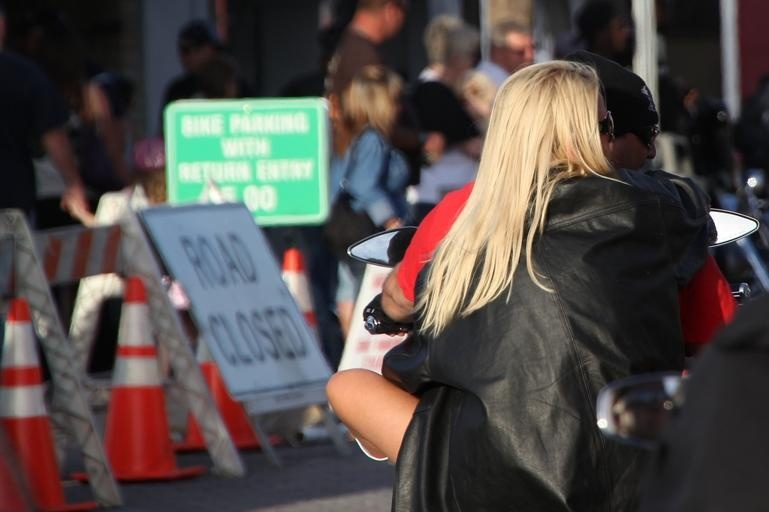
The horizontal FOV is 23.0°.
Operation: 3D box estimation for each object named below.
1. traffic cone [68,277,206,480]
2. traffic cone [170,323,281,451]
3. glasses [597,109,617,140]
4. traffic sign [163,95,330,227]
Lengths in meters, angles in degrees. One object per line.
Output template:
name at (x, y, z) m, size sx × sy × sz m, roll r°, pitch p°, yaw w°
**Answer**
traffic cone at (-1.370, 0.674, 10.585) m, size 0.753 × 1.029 × 0.790 m, roll -3°, pitch 6°, yaw -17°
traffic cone at (-0.821, 0.807, 11.238) m, size 0.610 × 0.720 × 0.610 m, roll -5°, pitch 0°, yaw 20°
glasses at (1.045, -0.627, 9.034) m, size 0.091 × 0.132 × 0.046 m, roll -3°, pitch 7°, yaw -15°
traffic sign at (-0.863, -0.581, 11.394) m, size 0.774 × 0.610 × 0.099 m, roll -1°, pitch 3°, yaw -22°
